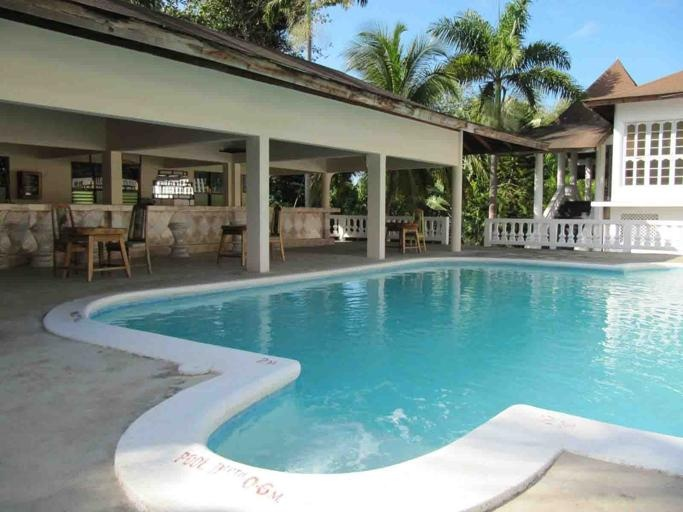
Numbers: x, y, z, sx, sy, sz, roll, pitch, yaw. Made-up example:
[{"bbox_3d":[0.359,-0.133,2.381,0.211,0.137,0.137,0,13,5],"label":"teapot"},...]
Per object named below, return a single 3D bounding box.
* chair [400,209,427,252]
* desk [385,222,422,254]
[{"bbox_3d":[2.075,-0.754,14.423,0.905,1.158,0.780,-6,3,-5],"label":"chair"},{"bbox_3d":[1.969,-0.694,14.579,1.132,1.100,1.400,0,5,-19],"label":"desk"}]
